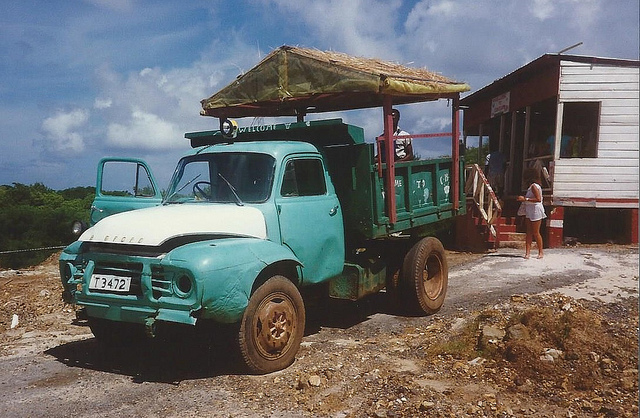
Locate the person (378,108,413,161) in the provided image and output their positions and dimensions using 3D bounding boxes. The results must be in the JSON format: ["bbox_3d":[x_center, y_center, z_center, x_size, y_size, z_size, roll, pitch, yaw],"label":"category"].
[{"bbox_3d":[1.624,-1.495,9.694,0.826,1.306,0.640,5,17,38],"label":"person"}]

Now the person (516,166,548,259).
[{"bbox_3d":[5.766,0.137,12.286,0.633,2.454,0.943,2,10,24],"label":"person"}]

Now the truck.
[{"bbox_3d":[-0.329,0.430,8.423,3.332,3.332,6.919,-5,-3,38],"label":"truck"}]

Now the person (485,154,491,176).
[{"bbox_3d":[7.257,-1.888,19.546,0.212,0.978,1.012,1,9,18],"label":"person"}]

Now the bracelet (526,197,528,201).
[{"bbox_3d":[5.520,-0.267,12.023,0.080,0.065,0.084,-8,1,0],"label":"bracelet"}]
